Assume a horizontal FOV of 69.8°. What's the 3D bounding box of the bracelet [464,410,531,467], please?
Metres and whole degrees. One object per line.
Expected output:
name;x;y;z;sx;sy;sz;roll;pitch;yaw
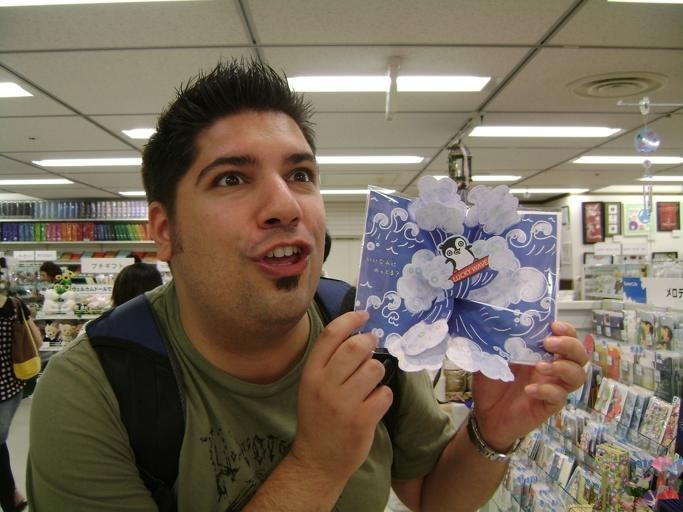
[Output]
bracelet;0.470;0.607;1.579;0.153;0.166;0.047;19;-34;-23
